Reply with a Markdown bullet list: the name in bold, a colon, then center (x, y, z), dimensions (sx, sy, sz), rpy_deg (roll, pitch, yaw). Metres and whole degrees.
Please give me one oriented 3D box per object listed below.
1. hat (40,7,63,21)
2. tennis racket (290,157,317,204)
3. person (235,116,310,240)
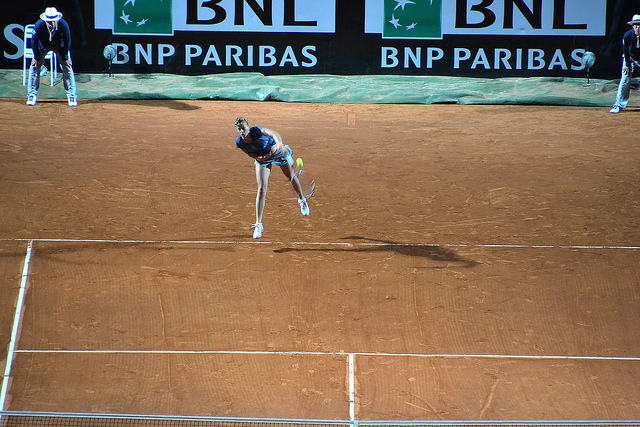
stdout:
- **hat**: center (-6.767, -5.043, 14.579), dimensions (0.413, 0.356, 0.606), rpy_deg (-4, 15, -17)
- **tennis racket**: center (-0.308, -0.538, 11.089), dimensions (0.709, 0.840, 0.545), rpy_deg (-1, -9, 4)
- **person**: center (-0.784, -0.535, 8.769), dimensions (1.140, 1.855, 0.468), rpy_deg (-15, 25, -42)
